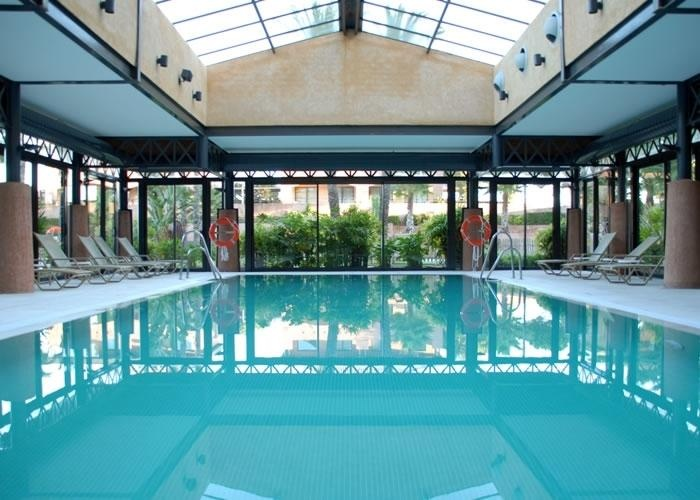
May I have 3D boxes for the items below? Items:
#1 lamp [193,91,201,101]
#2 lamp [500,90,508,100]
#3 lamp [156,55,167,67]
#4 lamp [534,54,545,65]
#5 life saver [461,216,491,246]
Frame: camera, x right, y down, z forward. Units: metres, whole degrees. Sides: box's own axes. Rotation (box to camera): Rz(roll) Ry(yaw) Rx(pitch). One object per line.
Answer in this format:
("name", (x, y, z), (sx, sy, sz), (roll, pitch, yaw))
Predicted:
("lamp", (-4.205, -4.227, 14.910), (0.179, 0.296, 0.340), (0, 0, 3))
("lamp", (4.230, -4.240, 14.876), (0.173, 0.226, 0.540), (0, 8, 5))
("lamp", (-4.301, -4.349, 12.430), (0.212, 0.269, 0.336), (0, 8, -1))
("lamp", (4.327, -4.350, 12.361), (0.227, 0.245, 0.256), (0, 8, 2))
("life saver", (4.173, -0.649, 18.298), (0.983, 1.140, 0.427), (-4, 0, 35))
